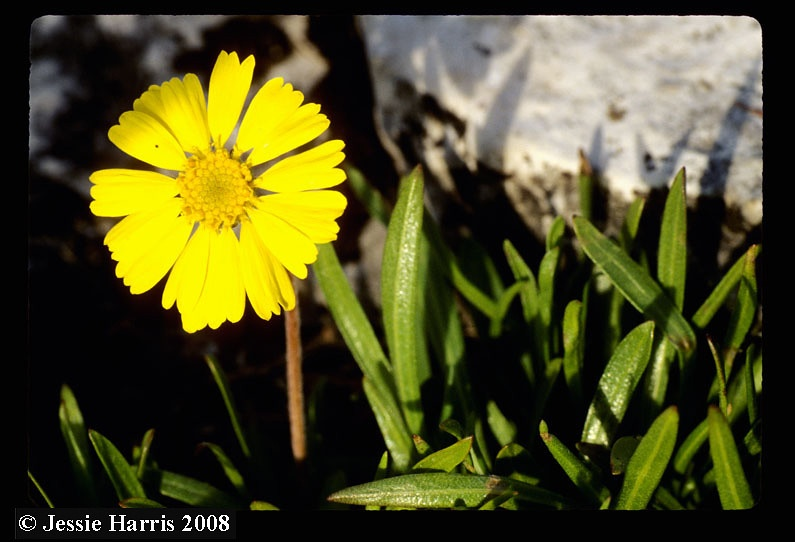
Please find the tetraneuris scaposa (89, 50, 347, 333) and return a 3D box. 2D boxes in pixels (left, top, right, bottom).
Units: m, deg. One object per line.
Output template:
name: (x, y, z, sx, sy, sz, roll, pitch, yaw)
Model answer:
tetraneuris scaposa: (-0.389, -0.194, 1.563, 0.514, 0.165, 0.527, -10, -30, -45)
